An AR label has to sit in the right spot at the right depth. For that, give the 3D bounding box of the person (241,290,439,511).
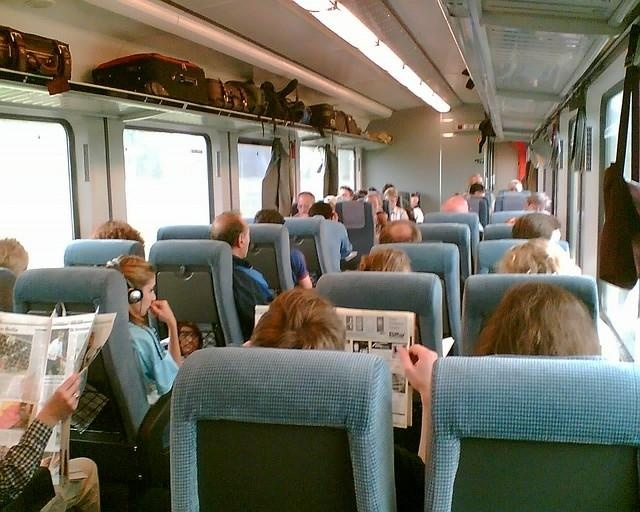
[{"bbox_3d":[0.072,0.408,1.675,0.568,0.847,0.630,1,1,20],"label":"person"}]
